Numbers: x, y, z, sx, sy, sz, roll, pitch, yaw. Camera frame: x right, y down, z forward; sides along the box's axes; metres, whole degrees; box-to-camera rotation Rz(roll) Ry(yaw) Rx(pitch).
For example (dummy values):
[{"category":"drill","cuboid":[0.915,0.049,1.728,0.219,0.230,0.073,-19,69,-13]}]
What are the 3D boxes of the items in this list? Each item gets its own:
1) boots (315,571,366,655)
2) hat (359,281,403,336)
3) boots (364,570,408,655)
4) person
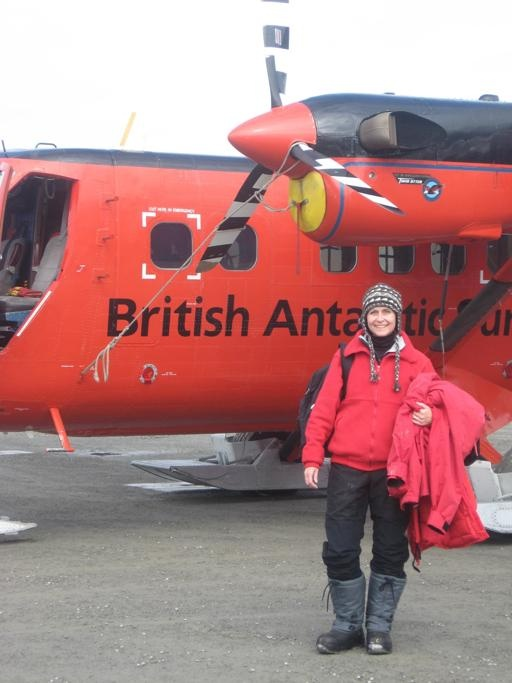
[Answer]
[{"category":"boots","cuboid":[0.450,1.420,3.869,0.352,0.316,0.145,1,2,-44]},{"category":"hat","cuboid":[0.755,-0.200,4.128,0.242,0.260,0.291,7,9,21]},{"category":"boots","cuboid":[0.664,1.411,3.847,0.187,0.327,0.204,3,1,8]},{"category":"person","cuboid":[0.568,0.658,3.944,0.654,1.532,0.505,4,2,10]}]
